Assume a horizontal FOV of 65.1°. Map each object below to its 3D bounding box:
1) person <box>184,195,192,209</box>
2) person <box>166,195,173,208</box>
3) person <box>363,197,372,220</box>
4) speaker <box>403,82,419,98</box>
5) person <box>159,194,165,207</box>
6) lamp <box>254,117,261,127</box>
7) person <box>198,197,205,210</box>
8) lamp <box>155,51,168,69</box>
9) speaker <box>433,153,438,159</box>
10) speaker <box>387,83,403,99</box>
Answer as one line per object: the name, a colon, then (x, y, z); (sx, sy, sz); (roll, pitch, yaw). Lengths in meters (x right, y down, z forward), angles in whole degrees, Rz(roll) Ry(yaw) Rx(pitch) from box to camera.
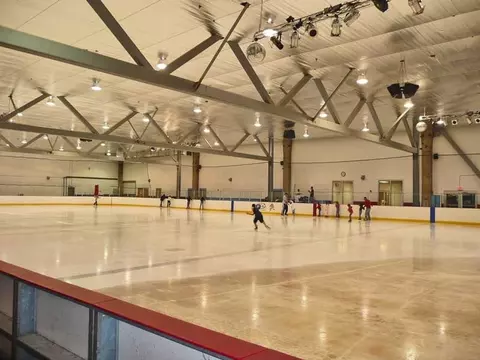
person: (-4.587, 1.990, 34.231); (0.391, 1.152, 1.148); (2, 0, -8)
person: (-6.651, 2.055, 35.972); (0.479, 1.060, 0.972); (2, 0, -12)
person: (7.810, 1.772, 23.090); (0.327, 1.186, 1.438); (2, 0, 16)
speaker: (6.010, -3.124, 13.404); (0.635, 0.354, 0.590); (6, -9, 2)
person: (-7.330, 2.009, 36.116); (0.518, 1.150, 1.972); (2, 0, -11)
lamp: (1.025, -3.301, 21.559); (0.532, 0.515, 0.500); (-2, 2, 9)
person: (-3.274, 2.016, 33.244); (0.470, 1.109, 1.068); (2, 0, -7)
lamp: (-2.527, -3.884, 12.437); (0.333, 0.449, 0.808); (2, 0, -12)
speaker: (12.531, -1.501, 24.070); (0.245, 0.365, 0.236); (2, 1, 30)
speaker: (5.632, -3.256, 13.594); (0.613, 0.351, 0.586); (0, -9, 2)
